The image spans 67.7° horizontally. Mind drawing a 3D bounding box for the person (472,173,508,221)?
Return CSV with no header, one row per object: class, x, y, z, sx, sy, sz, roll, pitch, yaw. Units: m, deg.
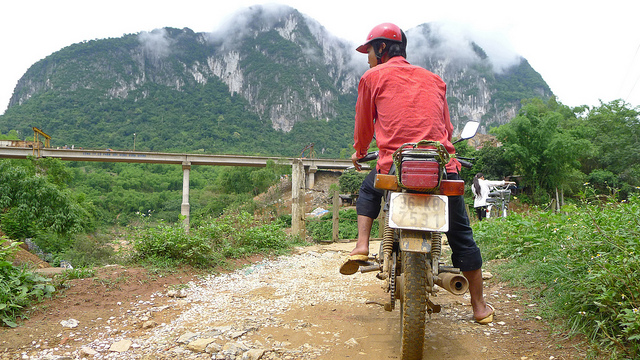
person,8.276,0.836,22.992,2.204,1.459,1.179,26,1,-32
